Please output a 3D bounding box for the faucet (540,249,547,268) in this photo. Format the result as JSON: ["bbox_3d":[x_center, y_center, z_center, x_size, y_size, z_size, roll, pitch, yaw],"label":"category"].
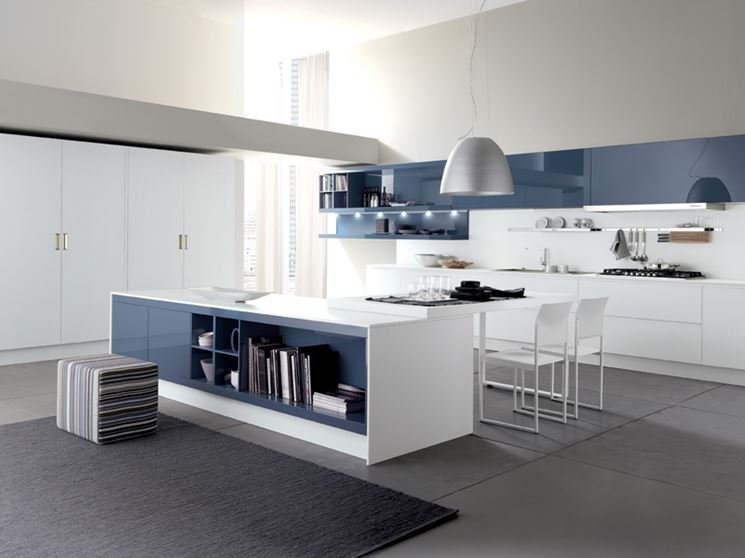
[{"bbox_3d":[2.349,-0.283,7.481,0.048,0.290,0.122,-1,4,-22],"label":"faucet"}]

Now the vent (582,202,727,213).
[{"bbox_3d":[3.314,-0.846,6.471,1.462,0.100,0.336,4,5,37],"label":"vent"}]

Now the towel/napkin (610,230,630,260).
[{"bbox_3d":[2.977,-0.417,6.551,0.185,0.348,0.344,3,5,29],"label":"towel/napkin"}]

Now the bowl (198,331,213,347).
[{"bbox_3d":[-1.444,0.526,4.773,0.115,0.137,0.157,-8,-12,41],"label":"bowl"}]

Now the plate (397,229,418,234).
[{"bbox_3d":[0.531,-0.769,8.744,0.363,0.097,0.225,2,4,20],"label":"plate"}]

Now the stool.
[{"bbox_3d":[-2.023,0.899,4.187,0.687,0.514,0.714,3,0,-29],"label":"stool"}]

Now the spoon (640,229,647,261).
[{"bbox_3d":[3.298,-0.403,6.657,0.072,0.379,0.094,4,5,42],"label":"spoon"}]

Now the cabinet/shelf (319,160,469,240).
[{"bbox_3d":[0.266,-1.206,8.970,2.727,1.176,0.556,3,7,35],"label":"cabinet/shelf"}]

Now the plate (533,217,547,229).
[{"bbox_3d":[2.304,-0.767,7.448,0.033,0.143,0.141,13,0,-42],"label":"plate"}]

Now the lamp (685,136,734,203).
[{"bbox_3d":[3.737,-1.199,6.086,0.431,0.715,0.143,3,5,25],"label":"lamp"}]

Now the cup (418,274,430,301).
[{"bbox_3d":[0.401,0.075,4.182,0.110,0.181,0.168,1,4,7],"label":"cup"}]

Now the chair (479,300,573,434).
[{"bbox_3d":[1.299,0.699,4.632,0.632,1.016,0.591,1,2,40],"label":"chair"}]
